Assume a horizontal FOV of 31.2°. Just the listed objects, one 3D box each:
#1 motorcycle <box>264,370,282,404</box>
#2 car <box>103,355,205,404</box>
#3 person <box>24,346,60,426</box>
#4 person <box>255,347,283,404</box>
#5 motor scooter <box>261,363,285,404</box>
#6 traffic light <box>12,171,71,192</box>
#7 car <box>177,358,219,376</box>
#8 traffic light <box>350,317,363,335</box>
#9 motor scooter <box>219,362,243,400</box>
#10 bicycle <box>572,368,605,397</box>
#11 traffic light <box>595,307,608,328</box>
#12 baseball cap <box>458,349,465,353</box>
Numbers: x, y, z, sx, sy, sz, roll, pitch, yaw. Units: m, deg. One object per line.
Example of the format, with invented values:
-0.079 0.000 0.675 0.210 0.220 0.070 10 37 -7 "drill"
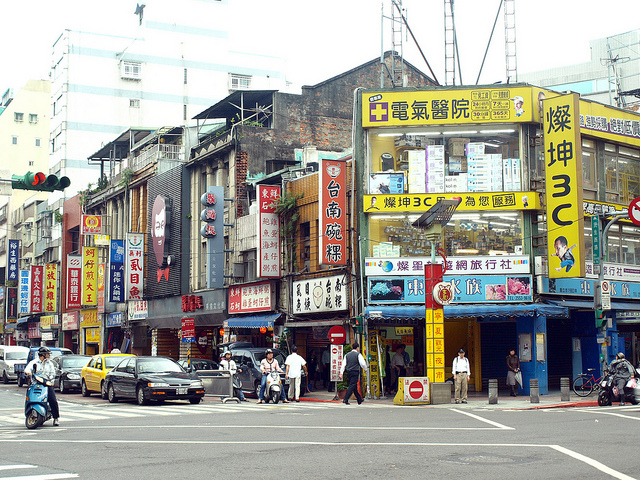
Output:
-2.042 6.256 48.264 0.620 1.417 0.889 5 -11 -25 "motorcycle"
-6.998 5.913 47.981 4.425 2.052 2.088 -8 -13 38 "car"
-9.814 5.159 40.476 1.103 2.872 0.950 3 -7 -32 "person"
-2.185 5.764 48.375 1.010 2.474 0.859 2 -6 -25 "person"
-2.034 6.119 48.246 0.797 1.682 1.026 1 -10 -3 "motor scooter"
-9.722 -1.976 39.580 1.083 0.504 1.206 3 -3 -43 "traffic light"
-5.623 5.939 53.695 0.876 0.722 1.581 5 -11 -32 "car"
1.598 3.809 50.430 0.692 0.992 0.643 -1 -3 -1 "traffic light"
-3.959 6.261 50.762 0.938 1.788 3.142 1 -10 -3 "motor scooter"
11.394 6.389 50.107 1.809 1.217 0.928 1 -3 -5 "bicycle"
12.048 3.393 49.306 0.446 0.748 1.174 -3 -11 18 "traffic light"
5.830 4.671 47.778 0.177 0.147 0.194 -1 -5 17 "baseball cap"
